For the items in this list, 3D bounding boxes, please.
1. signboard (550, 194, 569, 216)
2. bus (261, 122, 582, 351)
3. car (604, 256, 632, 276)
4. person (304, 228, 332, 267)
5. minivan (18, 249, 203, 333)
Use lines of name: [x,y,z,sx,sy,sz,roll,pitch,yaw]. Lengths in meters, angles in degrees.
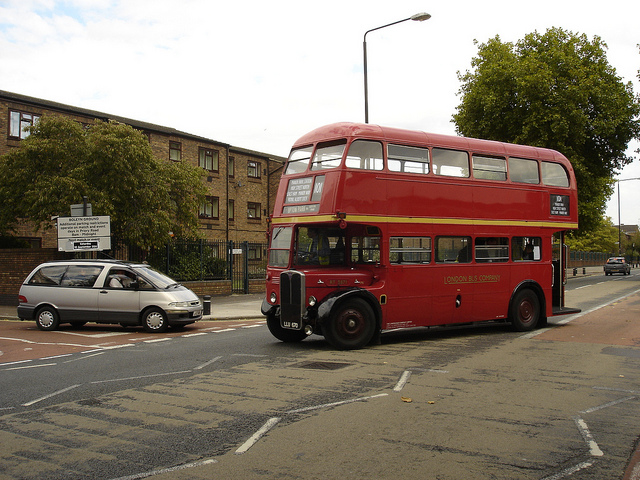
signboard: [7.166,-1.061,15.840,0.709,0.488,0.096,0,-2,-36]
bus: [3.157,-0.091,14.766,9.697,5.575,2.338,0,0,-28]
car: [31.137,2.751,55.234,1.950,1.623,3.414,-1,2,29]
person: [-0.011,0.156,12.694,0.802,0.785,0.235,6,2,-20]
minivan: [-6.451,1.590,16.726,5.180,2.013,2.308,-1,-4,6]
